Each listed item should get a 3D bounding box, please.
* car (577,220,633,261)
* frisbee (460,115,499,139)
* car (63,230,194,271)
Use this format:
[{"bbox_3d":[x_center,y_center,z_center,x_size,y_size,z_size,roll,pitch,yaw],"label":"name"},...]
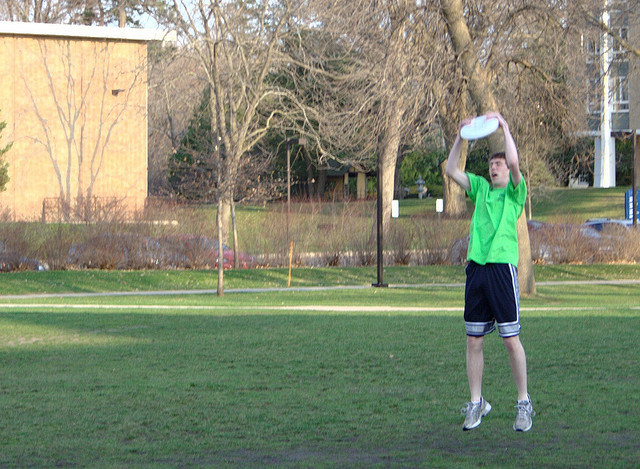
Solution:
[{"bbox_3d":[9.798,0.231,36.829,1.649,1.164,1.664,3,8,16],"label":"car"},{"bbox_3d":[2.434,-1.648,16.546,0.585,0.360,0.348,7,10,39],"label":"frisbee"},{"bbox_3d":[-6.032,0.622,33.830,2.070,0.848,1.824,-6,8,-39],"label":"car"}]
